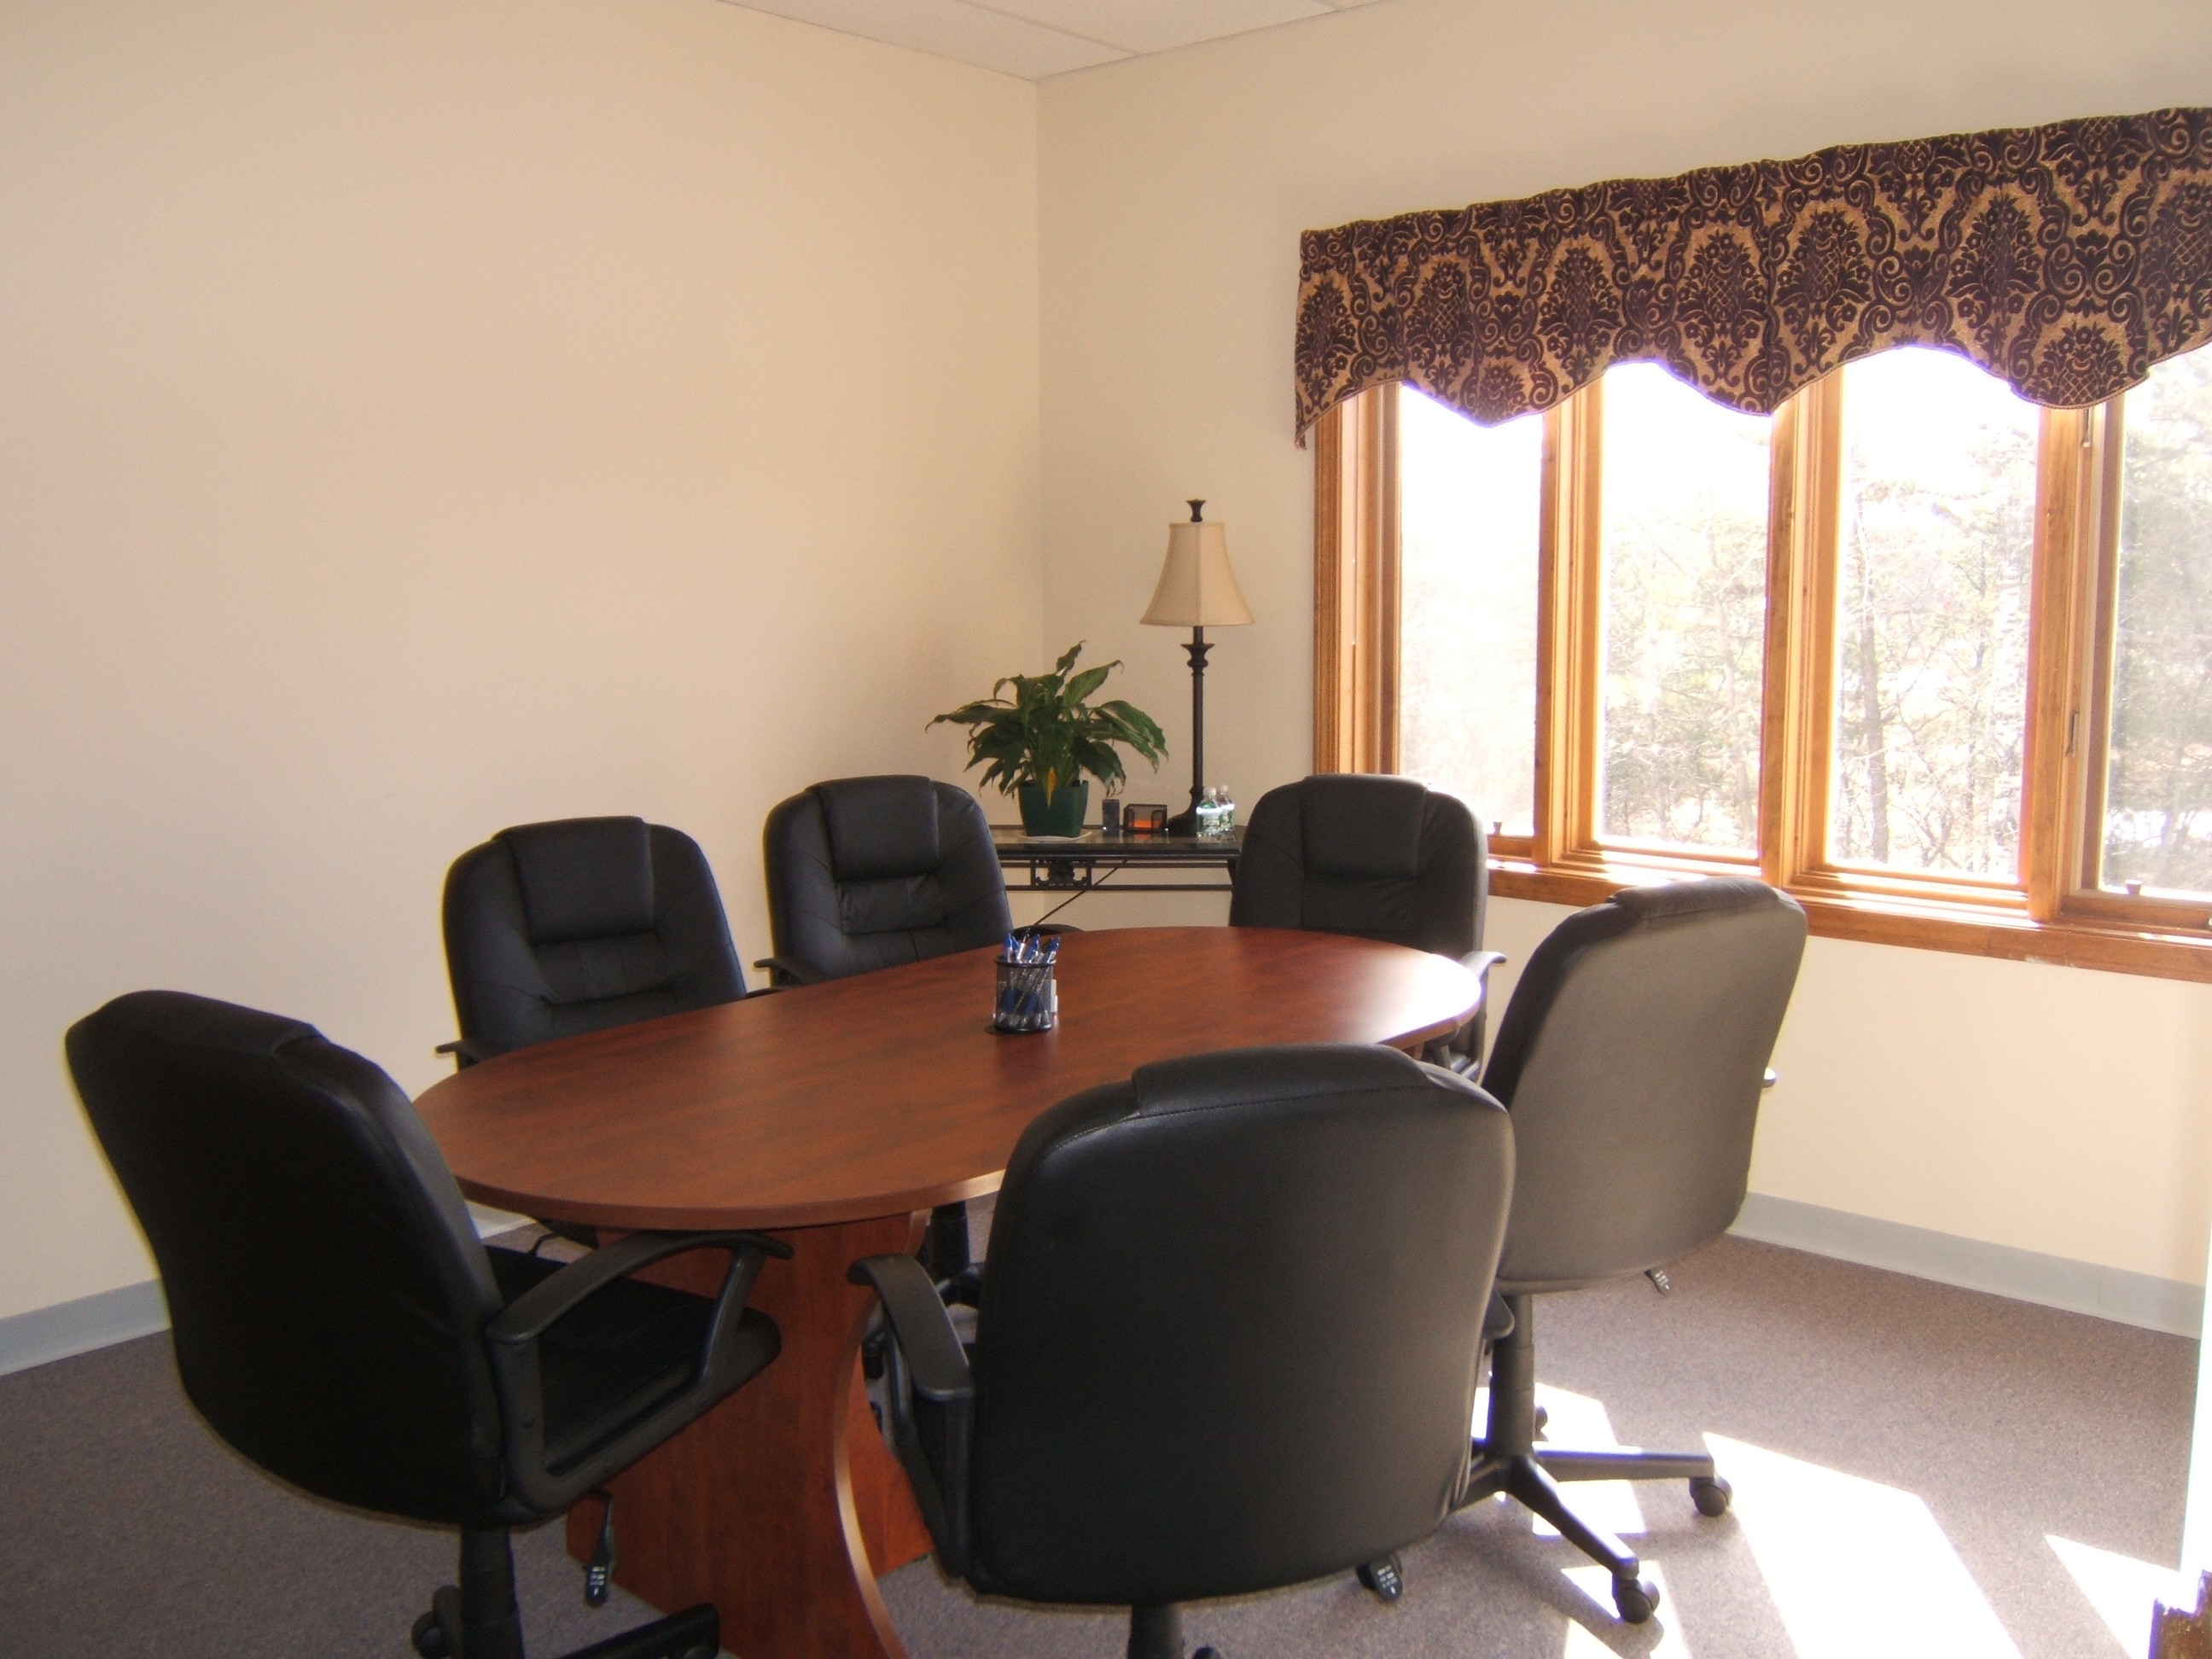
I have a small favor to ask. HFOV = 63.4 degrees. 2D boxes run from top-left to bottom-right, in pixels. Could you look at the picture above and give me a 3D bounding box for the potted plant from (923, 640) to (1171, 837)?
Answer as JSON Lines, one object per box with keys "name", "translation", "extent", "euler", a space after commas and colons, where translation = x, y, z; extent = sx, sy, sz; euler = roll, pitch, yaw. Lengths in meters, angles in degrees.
{"name": "potted plant", "translation": [-0.203, -0.197, 5.560], "extent": [0.665, 0.528, 0.622], "euler": [14, -15, -31]}
